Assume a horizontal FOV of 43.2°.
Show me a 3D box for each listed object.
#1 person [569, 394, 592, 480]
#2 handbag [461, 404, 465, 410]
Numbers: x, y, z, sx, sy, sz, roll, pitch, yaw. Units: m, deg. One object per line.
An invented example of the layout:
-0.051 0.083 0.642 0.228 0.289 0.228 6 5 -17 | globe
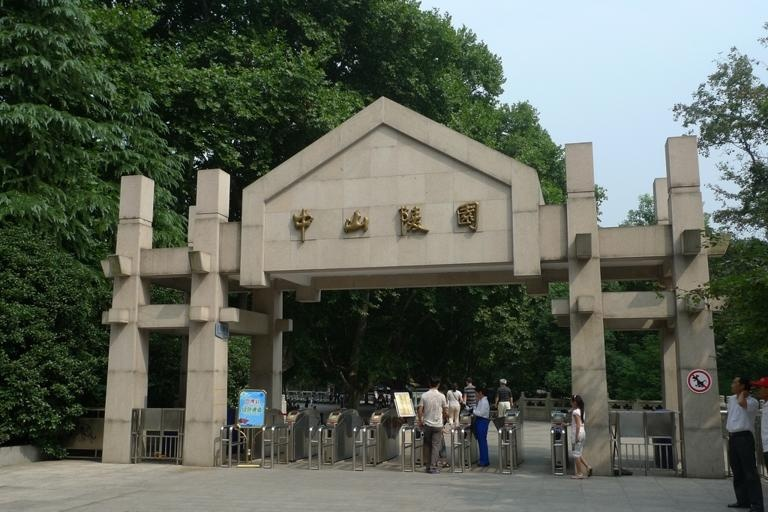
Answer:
5.779 5.189 28.146 0.521 2.384 1.061 -4 -14 11 | person
3.025 5.567 36.153 0.229 0.217 0.124 0 -1 18 | handbag
